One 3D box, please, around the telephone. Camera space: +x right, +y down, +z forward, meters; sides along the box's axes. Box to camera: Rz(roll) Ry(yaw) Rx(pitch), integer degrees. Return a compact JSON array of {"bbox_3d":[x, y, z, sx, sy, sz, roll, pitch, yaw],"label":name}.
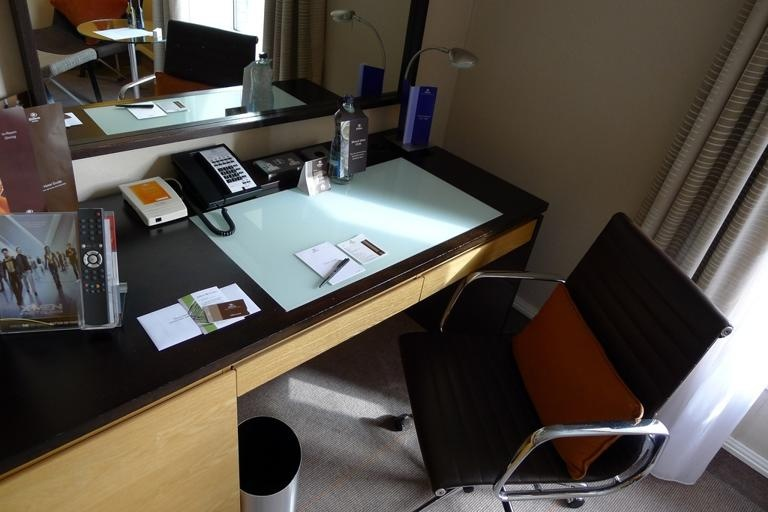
[{"bbox_3d":[-0.688,-0.326,2.083,0.322,0.092,0.310,32,44,4],"label":"telephone"}]
